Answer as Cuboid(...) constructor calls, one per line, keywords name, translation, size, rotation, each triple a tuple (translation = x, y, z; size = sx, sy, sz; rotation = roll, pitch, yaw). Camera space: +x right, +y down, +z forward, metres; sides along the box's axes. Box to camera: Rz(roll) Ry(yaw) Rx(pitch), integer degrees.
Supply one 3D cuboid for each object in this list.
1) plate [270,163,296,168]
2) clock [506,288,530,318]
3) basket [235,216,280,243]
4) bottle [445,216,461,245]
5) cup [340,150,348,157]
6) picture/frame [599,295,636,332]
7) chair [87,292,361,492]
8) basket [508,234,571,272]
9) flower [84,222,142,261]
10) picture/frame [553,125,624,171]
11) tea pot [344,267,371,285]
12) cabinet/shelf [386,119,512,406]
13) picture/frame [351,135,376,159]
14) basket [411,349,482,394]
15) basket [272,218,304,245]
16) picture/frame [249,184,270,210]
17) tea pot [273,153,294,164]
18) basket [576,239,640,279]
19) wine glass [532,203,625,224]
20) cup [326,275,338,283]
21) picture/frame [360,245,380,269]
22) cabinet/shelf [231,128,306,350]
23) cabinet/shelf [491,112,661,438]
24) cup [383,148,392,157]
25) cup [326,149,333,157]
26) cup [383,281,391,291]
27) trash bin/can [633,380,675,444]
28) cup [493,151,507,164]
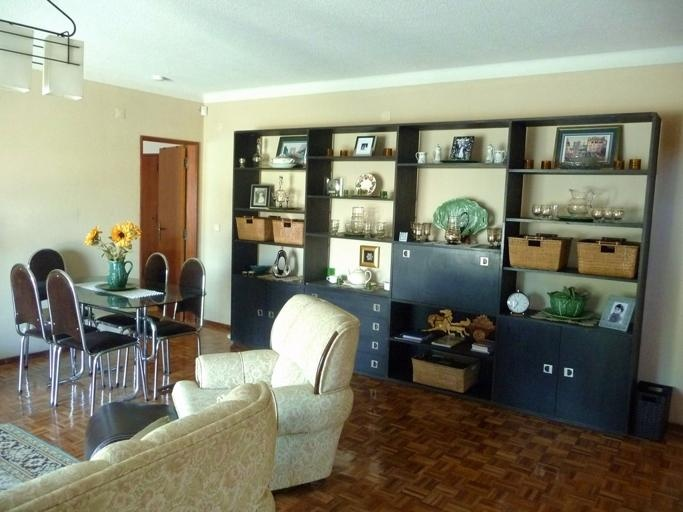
Cuboid(name="plate", translation=(-0.674, -1.039, 5.989), size=(0.348, 0.075, 0.130), rotation=(9, 12, 34))
Cuboid(name="clock", translation=(1.573, 0.436, 4.664), size=(0.232, 0.321, 0.120), rotation=(3, 2, 31))
Cuboid(name="basket", translation=(-1.030, -0.310, 6.123), size=(0.444, 0.285, 0.303), rotation=(3, 3, 35))
Cuboid(name="bottle", translation=(1.069, -0.246, 4.973), size=(0.144, 0.250, 0.276), rotation=(4, 10, 11))
Cuboid(name="cup", translation=(0.036, -1.107, 5.627), size=(0.078, 0.087, 0.089), rotation=(-3, 13, -21))
Cuboid(name="picture/frame", translation=(2.285, 0.483, 4.294), size=(0.259, 0.353, 0.027), rotation=(8, -22, 37))
Cuboid(name="chair", translation=(-0.575, 0.911, 3.590), size=(1.117, 1.034, 1.114), rotation=(-4, 9, -28))
Cuboid(name="basket", translation=(1.679, -0.023, 4.474), size=(0.368, 0.250, 0.376), rotation=(3, 6, 25))
Cuboid(name="flower", translation=(-2.396, -0.159, 5.388), size=(0.361, 0.389, 0.382), rotation=(7, 10, 20))
Cuboid(name="picture/frame", translation=(2.141, -0.923, 4.463), size=(0.449, 0.342, 0.036), rotation=(1, -2, 38))
Cuboid(name="tea pot", translation=(0.191, 0.225, 5.532), size=(0.222, 0.152, 0.151), rotation=(2, 0, -7))
Cuboid(name="cabinet/shelf", translation=(1.059, -0.010, 5.067), size=(1.109, 2.703, 0.477), rotation=(3, -4, 31))
Cuboid(name="picture/frame", translation=(0.244, -1.153, 5.500), size=(0.284, 0.332, 0.046), rotation=(6, -18, 31))
Cuboid(name="basket", translation=(1.024, 1.130, 5.113), size=(0.564, 0.243, 0.424), rotation=(8, 12, 30))
Cuboid(name="basket", translation=(-0.601, -0.274, 5.895), size=(0.456, 0.320, 0.272), rotation=(8, 12, 39))
Cuboid(name="picture/frame", translation=(-0.968, -0.703, 6.229), size=(0.310, 0.352, 0.026), rotation=(1, -6, 25))
Cuboid(name="tea pot", translation=(-0.658, -1.117, 5.978), size=(0.157, 0.064, 0.128), rotation=(4, 6, 24))
Cuboid(name="basket", translation=(2.183, 0.075, 4.335), size=(0.429, 0.274, 0.244), rotation=(6, -18, 16))
Cuboid(name="wine glass", translation=(2.020, -0.371, 4.475), size=(0.701, 0.138, 0.334), rotation=(7, 11, 29))
Cuboid(name="cup", translation=(-0.103, 0.270, 5.715), size=(0.099, 0.074, 0.064), rotation=(1, 1, 41))
Cuboid(name="picture/frame", translation=(0.318, 0.011, 5.639), size=(0.220, 0.231, 0.023), rotation=(7, 12, 34))
Cuboid(name="cabinet/shelf", translation=(-0.815, -0.135, 6.133), size=(0.944, 2.350, 0.422), rotation=(5, 9, 5))
Cuboid(name="cabinet/shelf", translation=(1.919, 0.139, 4.427), size=(1.049, 2.564, 0.367), rotation=(7, 11, 30))
Cuboid(name="cup", translation=(0.475, -1.066, 5.355), size=(0.077, 0.087, 0.089), rotation=(1, 10, 0))
Cuboid(name="cup", translation=(-0.113, -1.135, 5.708), size=(0.060, 0.107, 0.105), rotation=(2, 11, 5))
Cuboid(name="cup", translation=(0.466, 0.324, 5.425), size=(0.075, 0.070, 0.059), rotation=(1, 2, 42))
Cuboid(name="trash bin/can", translation=(2.561, 1.268, 4.302), size=(0.267, 0.370, 0.451), rotation=(8, 12, 33))
Cuboid(name="cup", translation=(1.432, -0.900, 4.732), size=(0.134, 0.133, 0.086), rotation=(-1, 3, 0))
